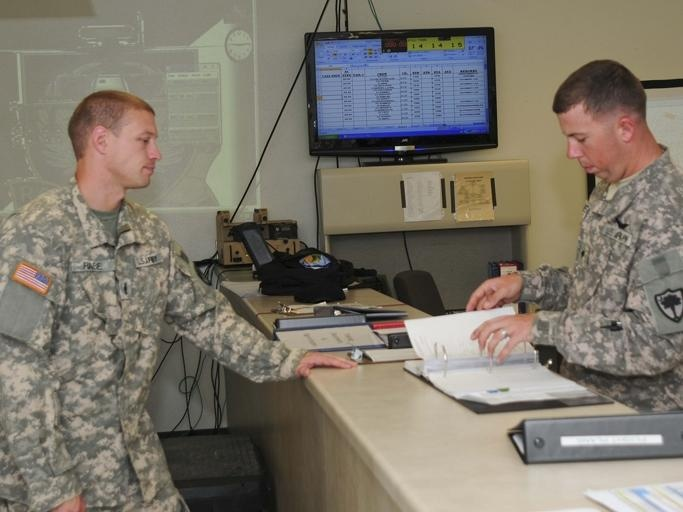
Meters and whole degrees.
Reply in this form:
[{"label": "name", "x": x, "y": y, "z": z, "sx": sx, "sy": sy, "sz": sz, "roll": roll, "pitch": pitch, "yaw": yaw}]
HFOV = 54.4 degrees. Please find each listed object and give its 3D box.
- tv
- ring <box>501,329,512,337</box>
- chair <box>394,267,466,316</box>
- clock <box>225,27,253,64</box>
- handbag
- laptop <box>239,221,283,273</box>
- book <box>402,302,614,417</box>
[{"label": "tv", "x": 0.349, "y": -0.973, "z": 3.977, "sx": 0.941, "sy": 0.611, "sz": 0.244, "roll": -1, "pitch": 1, "yaw": -3}, {"label": "ring", "x": 0.447, "y": 0.207, "z": 1.803, "sx": 0.021, "sy": 0.019, "sz": 0.006, "roll": 0, "pitch": -9, "yaw": -10}, {"label": "chair", "x": 0.446, "y": 0.165, "z": 3.342, "sx": 0.236, "sy": 0.355, "sz": 0.228, "roll": -7, "pitch": 0, "yaw": 45}, {"label": "clock", "x": -0.619, "y": -1.263, "z": 3.967, "sx": 0.233, "sy": 0.250, "sz": 0.035, "roll": 0, "pitch": 4, "yaw": -5}, {"label": "handbag", "x": -0.180, "y": 0.075, "z": 3.082, "sx": 0.285, "sy": 0.087, "sz": 0.272, "roll": -2, "pitch": 9, "yaw": -11}, {"label": "laptop", "x": -0.393, "y": -0.052, "z": 3.193, "sx": 0.141, "sy": 0.251, "sz": 0.069, "roll": -28, "pitch": -8, "yaw": -25}, {"label": "book", "x": 0.407, "y": 0.260, "z": 1.752, "sx": 0.420, "sy": 0.193, "sz": 0.413, "roll": -6, "pitch": 5, "yaw": -7}]
